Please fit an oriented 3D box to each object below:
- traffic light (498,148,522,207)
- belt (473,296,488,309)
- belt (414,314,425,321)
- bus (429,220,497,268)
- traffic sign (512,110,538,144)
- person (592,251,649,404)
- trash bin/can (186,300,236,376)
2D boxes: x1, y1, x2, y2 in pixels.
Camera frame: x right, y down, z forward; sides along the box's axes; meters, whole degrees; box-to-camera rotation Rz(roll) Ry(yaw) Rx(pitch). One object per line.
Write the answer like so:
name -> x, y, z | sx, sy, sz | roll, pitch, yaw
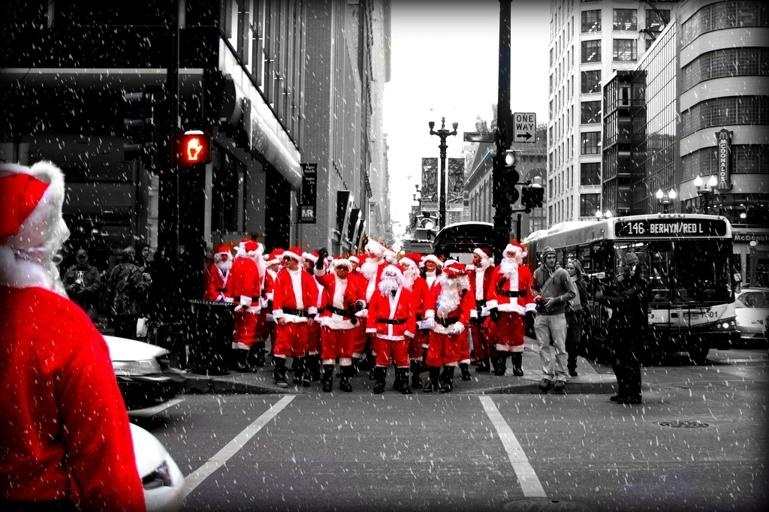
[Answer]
traffic light -> 2.537, -1.598, 18.945 | 0.453, 1.174, 0.374 | 0, -1, 6
belt -> 2.056, 1.002, 19.823 | 0.247, 0.225, 0.274 | 0, -4, 4
belt -> 0.654, 1.091, 16.832 | 0.138, 0.151, 0.245 | 4, -1, 3
bus -> 2.904, -0.637, 34.404 | 1.665, 2.068, 4.261 | 1, -1, -9
traffic sign -> 2.949, -2.721, 19.578 | 0.516, 0.684, 0.489 | 0, -1, 4
person -> 4.016, 1.178, 15.810 | 0.810, 2.532, 0.986 | 0, 0, -4
trash bin/can -> -3.058, 1.615, 17.355 | 0.826, 1.322, 0.851 | -5, -24, 29
